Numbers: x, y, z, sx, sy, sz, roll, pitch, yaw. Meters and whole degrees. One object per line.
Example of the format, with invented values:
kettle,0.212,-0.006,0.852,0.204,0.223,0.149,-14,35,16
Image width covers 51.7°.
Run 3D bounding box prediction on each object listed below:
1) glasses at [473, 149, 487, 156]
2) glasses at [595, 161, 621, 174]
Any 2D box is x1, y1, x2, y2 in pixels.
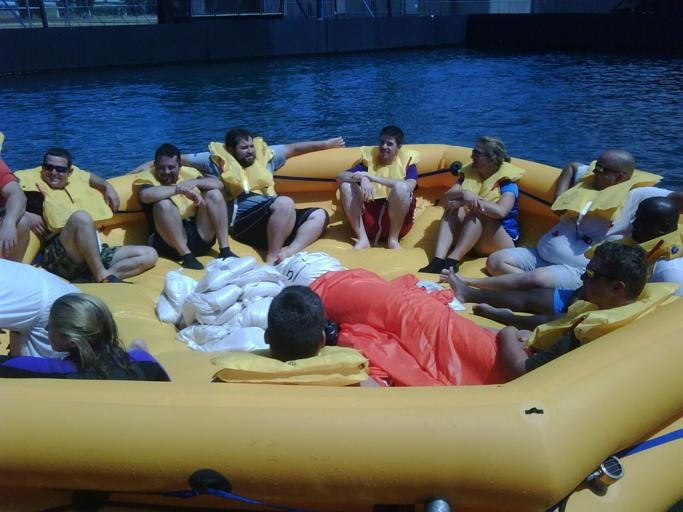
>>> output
glasses,0.997,-0.740,5.083,0.066,0.017,0.052,9,8,-10
glasses,1.741,-0.566,4.589,0.116,0.028,0.104,12,17,-13
